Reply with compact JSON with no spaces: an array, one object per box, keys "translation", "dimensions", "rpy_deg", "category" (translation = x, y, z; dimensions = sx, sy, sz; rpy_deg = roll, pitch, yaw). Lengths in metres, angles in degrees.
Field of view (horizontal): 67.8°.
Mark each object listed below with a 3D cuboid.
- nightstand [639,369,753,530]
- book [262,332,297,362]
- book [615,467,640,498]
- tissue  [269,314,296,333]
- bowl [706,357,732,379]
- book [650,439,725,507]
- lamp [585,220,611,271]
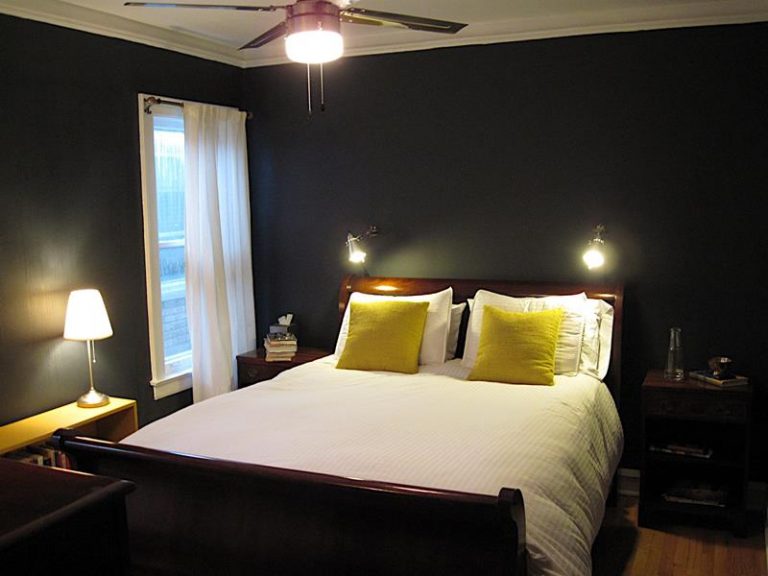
[{"translation":[1.927,0.978,3.574],"dimensions":[0.563,0.852,0.466],"rpy_deg":[0,5,29],"category":"nightstand"},{"translation":[-0.791,0.460,4.480],"dimensions":[0.250,0.130,0.193],"rpy_deg":[3,6,7],"category":"book"},{"translation":[1.642,1.301,3.885],"dimensions":[0.162,0.239,0.169],"rpy_deg":[0,-5,24],"category":"book"},{"translation":[-0.816,0.287,4.614],"dimensions":[0.162,0.171,0.159],"rpy_deg":[0,-1,16],"category":"tissue "},{"translation":[2.041,0.476,3.505],"dimensions":[0.135,0.114,0.135],"rpy_deg":[-4,0,0],"category":"bowl"},{"translation":[1.866,1.087,3.426],"dimensions":[0.356,0.091,0.375],"rpy_deg":[-3,24,17],"category":"book"},{"translation":[1.420,-0.272,3.857],"dimensions":[0.146,0.313,0.117],"rpy_deg":[-2,11,4],"category":"lamp"}]
